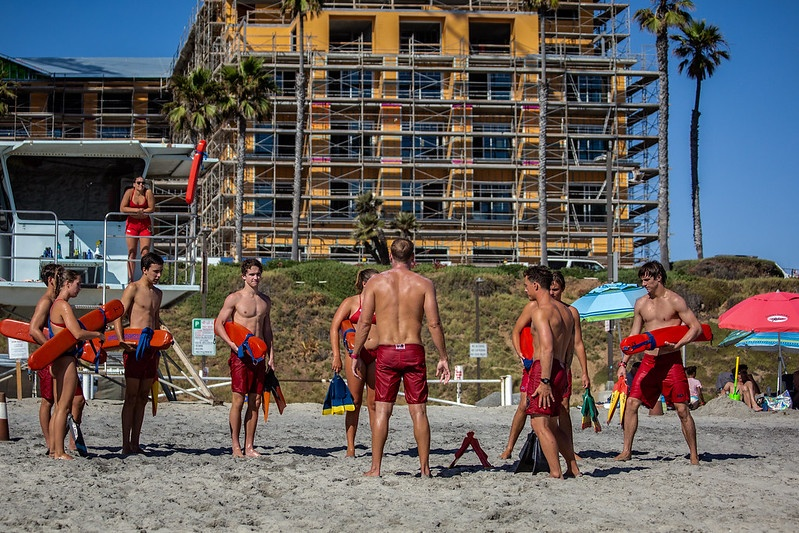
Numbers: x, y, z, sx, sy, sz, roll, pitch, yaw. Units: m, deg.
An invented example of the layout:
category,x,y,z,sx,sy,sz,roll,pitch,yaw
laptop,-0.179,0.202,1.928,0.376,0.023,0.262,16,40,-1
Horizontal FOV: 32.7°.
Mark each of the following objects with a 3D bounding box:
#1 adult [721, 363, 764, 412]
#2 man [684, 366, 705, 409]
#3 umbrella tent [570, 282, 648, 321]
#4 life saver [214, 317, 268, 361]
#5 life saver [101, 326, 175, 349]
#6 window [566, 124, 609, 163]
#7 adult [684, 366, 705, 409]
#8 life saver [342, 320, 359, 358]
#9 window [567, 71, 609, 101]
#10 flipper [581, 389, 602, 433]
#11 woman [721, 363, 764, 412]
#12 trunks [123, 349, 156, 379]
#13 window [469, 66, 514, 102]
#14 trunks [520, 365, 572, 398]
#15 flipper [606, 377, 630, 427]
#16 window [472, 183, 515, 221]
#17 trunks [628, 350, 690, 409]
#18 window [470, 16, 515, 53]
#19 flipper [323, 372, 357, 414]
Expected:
category,x,y,z,sx,sy,sz,roll,pitch,yaw
adult,11.567,4.145,46.159,0.917,1.837,1.239,-11,-3,-38
man,10.000,4.098,46.221,0.843,1.334,1.020,-7,-1,36
umbrella tent,6.888,1.215,46.198,1.780,0.640,1.826,-3,7,39
life saver,-4.124,1.981,35.931,1.078,0.810,0.418,36,9,3
life saver,-7.270,1.900,35.974,2.651,0.676,0.648,0,1,-20
window,11.577,-7.347,80.827,2.945,2.995,1.609,3,-1,35
adult,9.924,4.089,46.202,0.820,1.387,1.060,-2,0,21
life saver,-1.432,1.884,36.509,0.221,0.822,0.486,-14,-18,26
window,11.127,-10.685,81.758,2.747,2.046,1.557,0,3,-5
flipper,4.926,3.739,35.872,0.473,1.138,0.458,-15,18,-35
woman,11.559,4.195,46.201,0.916,1.891,1.289,3,-19,-38
trunks,-6.938,2.640,36.238,0.939,0.951,0.680,3,-5,-31
window,5.263,-10.776,80.453,2.120,1.557,0.115,1,-10,-10
trunks,3.763,2.933,35.132,1.122,1.077,0.813,3,0,0
flipper,5.885,3.638,36.966,0.372,1.525,0.251,8,19,4
window,5.345,-3.731,78.718,2.344,2.308,1.237,2,-2,-6
trunks,6.921,3.066,36.502,1.938,1.989,0.906,-3,-10,20
window,5.664,-14.689,83.849,2.280,0.523,2.498,-11,12,29
flipper,-1.637,3.377,36.095,0.807,1.087,0.393,2,-2,-2
